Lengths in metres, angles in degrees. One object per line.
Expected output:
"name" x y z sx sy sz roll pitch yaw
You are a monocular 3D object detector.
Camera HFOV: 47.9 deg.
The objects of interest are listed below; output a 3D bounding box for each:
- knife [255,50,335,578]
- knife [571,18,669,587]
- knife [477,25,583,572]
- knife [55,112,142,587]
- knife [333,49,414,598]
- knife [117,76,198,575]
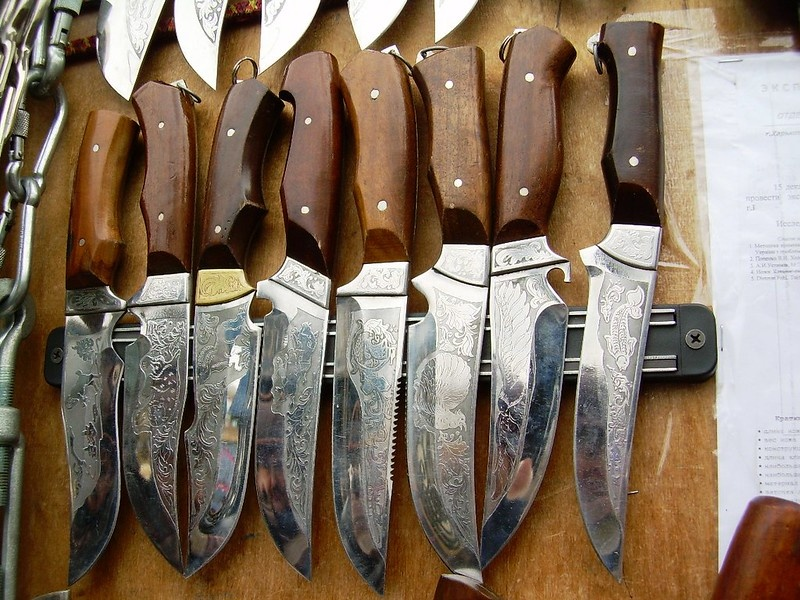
"knife" -0.193 -0.010 1.690 0.108 1.046 0.072 0 -17 0
"knife" 0.398 -0.030 1.622 0.140 0.949 0.335 2 8 16
"knife" 0.238 -0.030 1.635 0.141 0.943 0.317 1 8 12
"knife" -0.616 -0.008 1.876 0.114 1.129 0.087 2 -20 -8
"knife" -0.044 0.009 1.686 0.151 0.958 0.346 0 8 1
"knife" -0.471 0.035 1.768 0.106 1.055 0.074 -1 -18 -3
